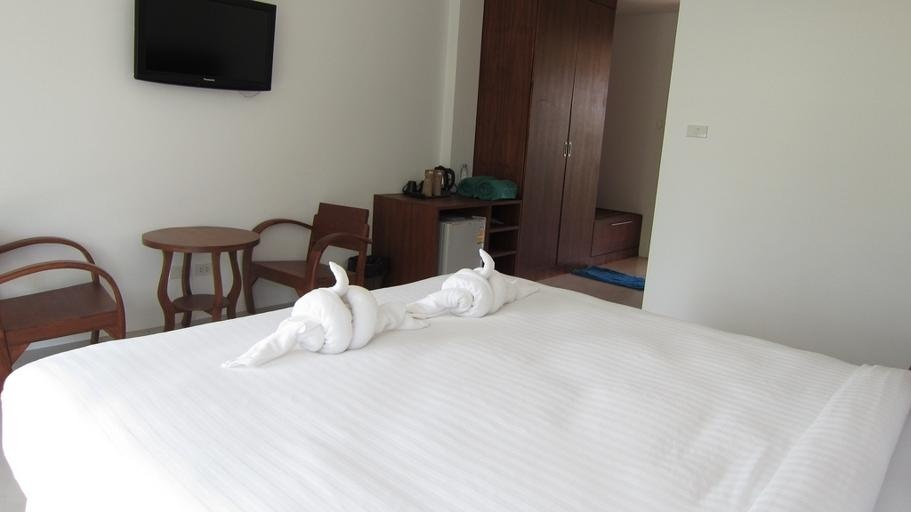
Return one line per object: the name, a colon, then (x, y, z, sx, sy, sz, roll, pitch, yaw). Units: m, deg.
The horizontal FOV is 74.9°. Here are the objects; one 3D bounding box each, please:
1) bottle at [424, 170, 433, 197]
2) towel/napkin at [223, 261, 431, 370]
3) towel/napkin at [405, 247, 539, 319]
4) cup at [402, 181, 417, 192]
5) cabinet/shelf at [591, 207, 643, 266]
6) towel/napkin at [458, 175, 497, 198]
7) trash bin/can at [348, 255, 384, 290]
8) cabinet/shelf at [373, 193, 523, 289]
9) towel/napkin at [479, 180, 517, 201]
bottle: (-0.249, -0.670, 5.632, 0.128, 0.276, 0.213, 5, 10, -3)
towel/napkin: (-0.670, 0.275, 3.204, 0.980, 0.359, 0.392, -9, 28, -40)
towel/napkin: (0.073, 0.156, 3.585, 0.824, 0.298, 0.320, -13, 29, -32)
cup: (-0.434, -0.659, 5.729, 0.157, 0.121, 0.094, 2, 12, -3)
cabinet/shelf: (1.985, -0.224, 7.301, 0.688, 0.390, 0.405, -9, 20, -35)
towel/napkin: (0.205, -0.653, 5.759, 0.258, 0.101, 0.252, 8, 13, 32)
trash bin/can: (-0.836, 0.171, 5.536, 0.341, 0.304, 0.334, -1, 17, -12)
cabinet/shelf: (-0.106, -0.277, 6.042, 1.426, 1.267, 0.952, -7, 16, -40)
towel/napkin: (0.432, -0.634, 5.796, 0.322, 0.193, 0.238, -5, 14, -40)
